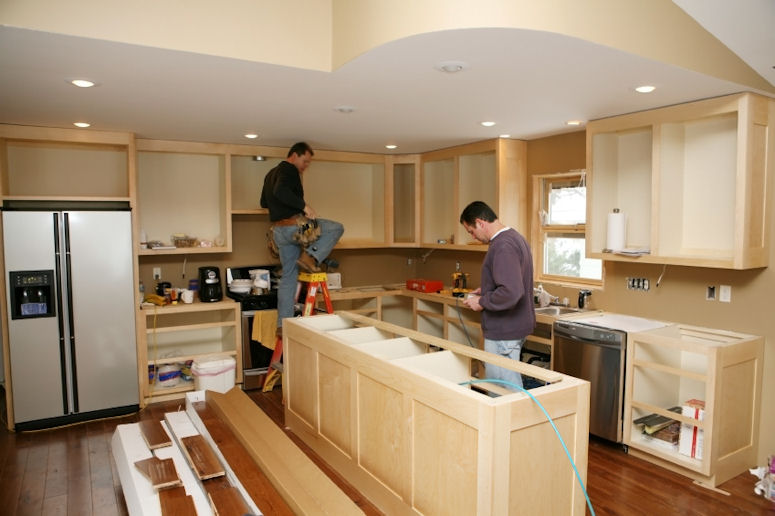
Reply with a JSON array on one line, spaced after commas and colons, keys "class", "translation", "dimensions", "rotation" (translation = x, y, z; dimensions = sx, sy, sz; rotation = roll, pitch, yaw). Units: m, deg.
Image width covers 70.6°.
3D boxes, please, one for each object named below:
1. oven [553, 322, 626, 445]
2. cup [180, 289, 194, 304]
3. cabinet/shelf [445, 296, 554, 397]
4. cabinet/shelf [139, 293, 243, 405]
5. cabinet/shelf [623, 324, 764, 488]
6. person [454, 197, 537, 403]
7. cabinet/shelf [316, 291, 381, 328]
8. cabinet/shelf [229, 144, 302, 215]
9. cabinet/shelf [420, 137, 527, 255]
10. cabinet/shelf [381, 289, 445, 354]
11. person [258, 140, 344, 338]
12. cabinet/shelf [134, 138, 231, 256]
[{"class": "oven", "translation": [2.172, 1.149, 5.525], "dimensions": [0.751, 1.045, 0.806], "rotation": [-6, 8, -35]}, {"class": "cup", "translation": [-2.353, 0.460, 6.494], "dimensions": [0.177, 0.153, 0.137], "rotation": [-2, 7, -17]}, {"class": "cabinet/shelf", "translation": [1.058, 0.789, 4.944], "dimensions": [0.363, 0.975, 1.087], "rotation": [-1, 4, -32]}, {"class": "cabinet/shelf", "translation": [-2.276, 1.048, 6.265], "dimensions": [1.207, 1.058, 0.670], "rotation": [2, -10, -31]}, {"class": "cabinet/shelf", "translation": [2.786, 1.292, 5.011], "dimensions": [1.017, 1.287, 0.678], "rotation": [-5, 5, -28]}, {"class": "person", "translation": [0.997, 0.211, 4.919], "dimensions": [0.600, 1.439, 0.451], "rotation": [-2, 5, 12]}, {"class": "cabinet/shelf", "translation": [-0.477, 0.806, 7.388], "dimensions": [0.796, 0.629, 0.411], "rotation": [0, 3, -27]}, {"class": "cabinet/shelf", "translation": [-1.490, -0.949, 6.664], "dimensions": [0.889, 0.838, 0.292], "rotation": [-3, 5, -44]}, {"class": "cabinet/shelf", "translation": [1.058, -0.803, 6.536], "dimensions": [0.433, 1.204, 1.458], "rotation": [-2, 2, -42]}, {"class": "cabinet/shelf", "translation": [0.303, 0.693, 6.255], "dimensions": [0.204, 0.598, 0.663], "rotation": [-4, 3, -45]}, {"class": "person", "translation": [-1.046, -0.268, 6.559], "dimensions": [0.857, 2.151, 0.618], "rotation": [-4, 5, -12]}, {"class": "cabinet/shelf", "translation": [-2.505, -0.747, 6.594], "dimensions": [1.423, 1.582, 0.536], "rotation": [1, -1, -34]}]
